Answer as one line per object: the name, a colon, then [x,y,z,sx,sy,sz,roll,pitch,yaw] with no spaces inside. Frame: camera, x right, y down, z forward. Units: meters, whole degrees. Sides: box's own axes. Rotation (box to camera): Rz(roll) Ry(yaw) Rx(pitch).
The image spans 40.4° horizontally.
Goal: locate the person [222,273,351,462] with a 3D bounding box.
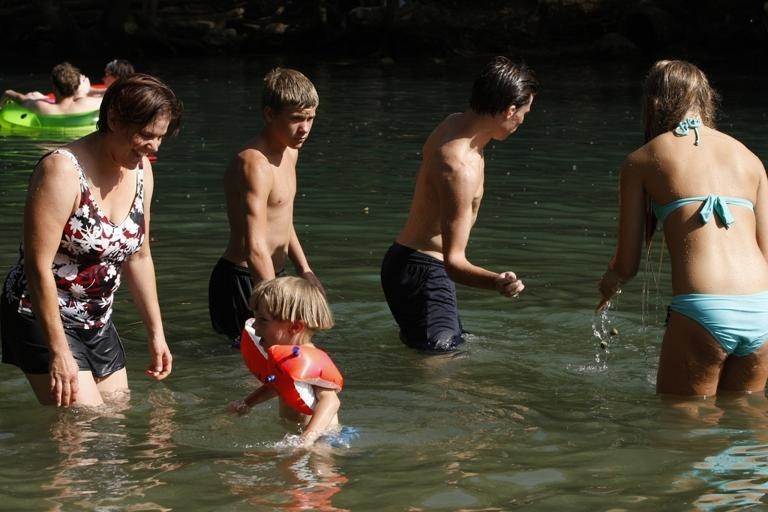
person: [-0.857,0.953,8.651,0.864,1.523,1.278,-6,18,-18]
